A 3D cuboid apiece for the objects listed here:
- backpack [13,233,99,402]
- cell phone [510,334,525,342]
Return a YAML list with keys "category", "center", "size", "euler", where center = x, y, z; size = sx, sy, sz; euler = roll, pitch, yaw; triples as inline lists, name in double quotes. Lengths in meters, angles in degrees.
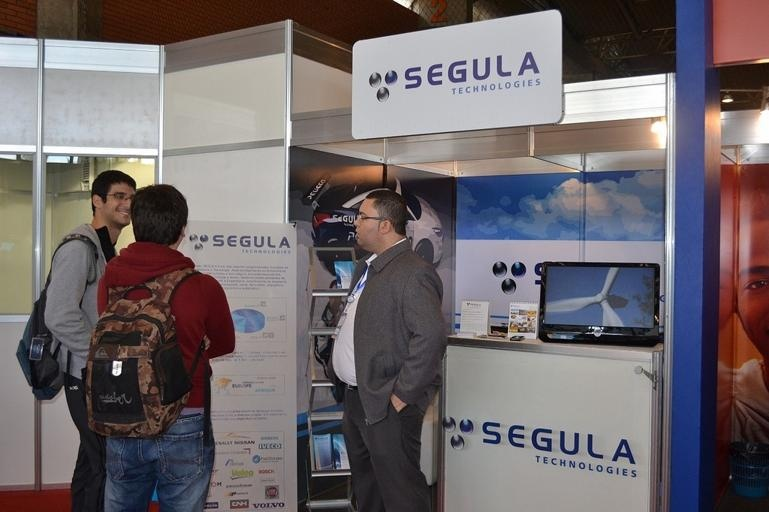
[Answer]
- category: "backpack"
  center: [-2.074, 0.408, 4.147]
  size: [0.514, 0.985, 0.381]
  euler: [-4, 1, -24]
- category: "cell phone"
  center: [0.918, 0.562, 4.459]
  size: [0.097, 0.028, 0.067]
  euler: [0, 1, 11]
